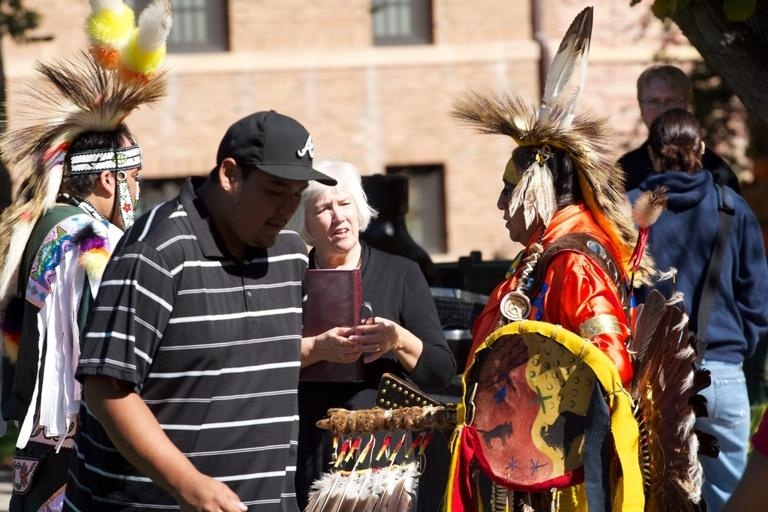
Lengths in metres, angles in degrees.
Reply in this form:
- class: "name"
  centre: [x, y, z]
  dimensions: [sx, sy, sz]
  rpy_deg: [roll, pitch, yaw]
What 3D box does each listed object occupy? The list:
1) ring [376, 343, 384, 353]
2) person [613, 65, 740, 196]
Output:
- class: "ring"
  centre: [-0.033, 0.514, 8.083]
  dimensions: [0.025, 0.039, 0.042]
  rpy_deg: [19, 5, 22]
- class: "person"
  centre: [1.952, -0.774, 9.898]
  dimensions: [1.112, 1.024, 0.584]
  rpy_deg: [0, 7, 27]
